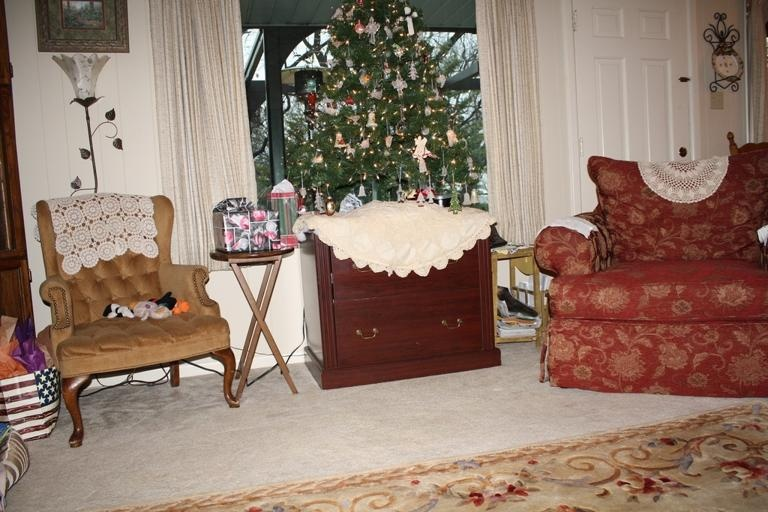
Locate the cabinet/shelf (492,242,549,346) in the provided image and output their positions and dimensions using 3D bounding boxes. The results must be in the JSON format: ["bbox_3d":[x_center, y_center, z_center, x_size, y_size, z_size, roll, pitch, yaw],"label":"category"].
[{"bbox_3d":[1.100,0.291,4.640,0.390,0.556,0.487,1,-1,19],"label":"cabinet/shelf"}]

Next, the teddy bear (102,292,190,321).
[{"bbox_3d":[-1.601,0.356,3.895,0.375,0.149,0.266,-4,-3,-12],"label":"teddy bear"}]

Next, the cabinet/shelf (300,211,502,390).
[{"bbox_3d":[0.110,0.281,4.252,1.273,0.999,0.683,-6,12,-9],"label":"cabinet/shelf"}]

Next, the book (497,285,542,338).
[{"bbox_3d":[0.997,0.463,4.331,0.246,0.137,0.387,-4,10,-17],"label":"book"}]

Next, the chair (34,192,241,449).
[{"bbox_3d":[-1.647,0.295,3.874,1.126,1.335,1.215,-4,10,-22],"label":"chair"}]
